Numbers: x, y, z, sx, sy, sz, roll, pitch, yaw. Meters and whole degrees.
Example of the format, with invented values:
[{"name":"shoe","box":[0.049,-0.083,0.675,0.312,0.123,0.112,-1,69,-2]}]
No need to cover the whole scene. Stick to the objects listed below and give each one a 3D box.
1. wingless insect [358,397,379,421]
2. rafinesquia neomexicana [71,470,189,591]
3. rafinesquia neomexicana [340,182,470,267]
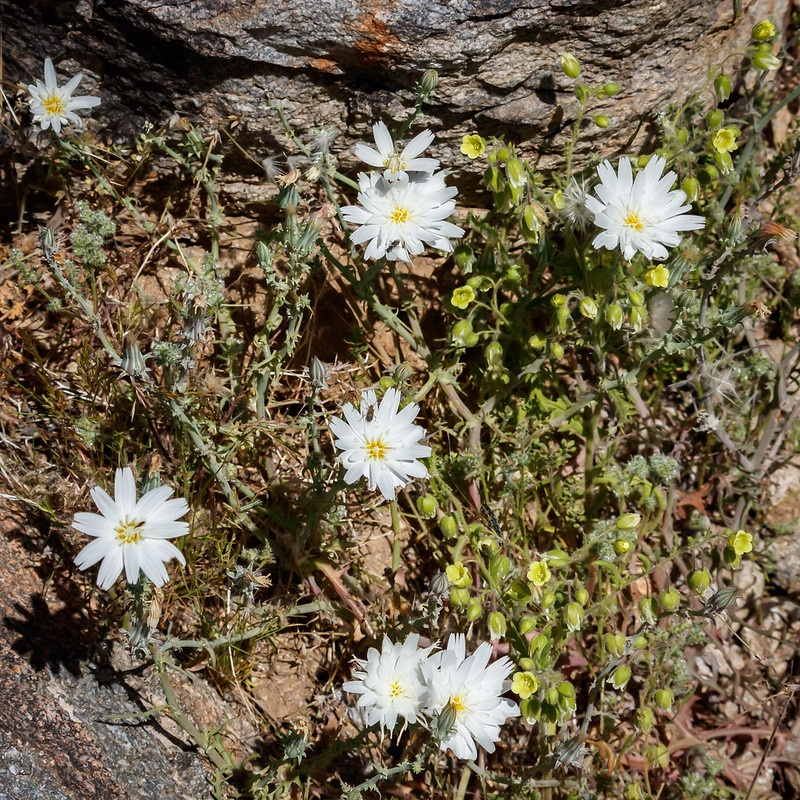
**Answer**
[{"name":"wingless insect","box":[-0.081,0.023,2.156,0.050,0.055,0.014,8,-9,0]},{"name":"rafinesquia neomexicana","box":[-0.630,0.307,1.989,0.265,0.286,0.080,-7,-9,-6]},{"name":"rafinesquia neomexicana","box":[0.004,-0.477,2.376,0.248,0.256,0.084,15,-12,-6]}]
